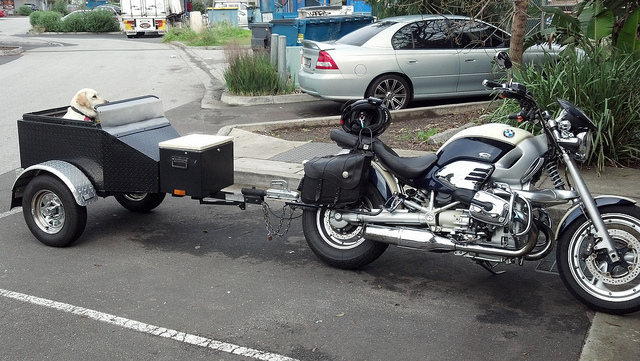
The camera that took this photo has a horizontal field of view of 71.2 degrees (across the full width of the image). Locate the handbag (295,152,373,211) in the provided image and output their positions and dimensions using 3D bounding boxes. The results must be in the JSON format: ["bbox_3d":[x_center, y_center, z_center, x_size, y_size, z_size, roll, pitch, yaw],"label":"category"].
[{"bbox_3d":[0.272,0.027,6.266,1.067,0.686,0.447,-3,-9,36],"label":"handbag"}]

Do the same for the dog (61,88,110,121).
[{"bbox_3d":[-4.044,-1.228,7.817,0.890,0.607,0.527,-5,9,7],"label":"dog"}]

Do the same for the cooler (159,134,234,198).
[{"bbox_3d":[-1.882,-0.235,6.918,1.112,0.667,1.084,-10,18,-36],"label":"cooler"}]
